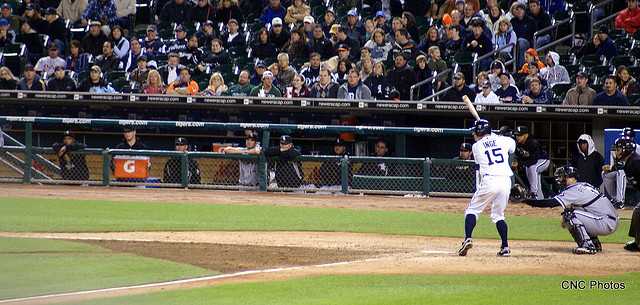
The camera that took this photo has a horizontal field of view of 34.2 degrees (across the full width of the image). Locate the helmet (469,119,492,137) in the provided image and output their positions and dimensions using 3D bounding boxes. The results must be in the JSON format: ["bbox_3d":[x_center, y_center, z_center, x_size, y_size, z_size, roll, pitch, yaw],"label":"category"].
[{"bbox_3d":[5.099,-0.785,32.689,0.628,0.464,0.436,10,5,19],"label":"helmet"}]

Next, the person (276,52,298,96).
[{"bbox_3d":[-1.235,-2.894,38.458,0.728,1.536,0.478,-1,-2,-3],"label":"person"}]

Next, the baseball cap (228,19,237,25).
[{"bbox_3d":[-3.406,-5.117,40.863,0.394,0.173,0.370,1,4,2],"label":"baseball cap"}]

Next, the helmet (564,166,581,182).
[{"bbox_3d":[7.966,0.622,32.854,0.464,0.483,0.515,9,26,15],"label":"helmet"}]

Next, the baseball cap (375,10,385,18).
[{"bbox_3d":[2.500,-5.394,40.477,0.387,0.247,0.591,0,5,3],"label":"baseball cap"}]

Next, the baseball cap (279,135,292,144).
[{"bbox_3d":[-1.212,-0.458,37.465,0.415,0.304,0.285,0,-3,-23],"label":"baseball cap"}]

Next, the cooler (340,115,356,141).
[{"bbox_3d":[1.059,-0.907,38.304,0.594,0.968,0.301,-1,-2,0],"label":"cooler"}]

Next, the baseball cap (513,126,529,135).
[{"bbox_3d":[7.181,-0.777,36.666,0.416,0.190,0.275,3,0,-27],"label":"baseball cap"}]

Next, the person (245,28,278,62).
[{"bbox_3d":[-2.190,-4.151,40.343,1.485,1.301,0.837,6,13,33],"label":"person"}]

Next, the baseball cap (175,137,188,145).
[{"bbox_3d":[-5.027,-0.419,37.841,0.374,0.271,0.464,-1,-2,-4],"label":"baseball cap"}]

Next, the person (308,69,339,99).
[{"bbox_3d":[0.298,-2.390,38.153,1.443,1.266,0.844,4,5,39],"label":"person"}]

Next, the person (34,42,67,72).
[{"bbox_3d":[-10.483,-3.596,40.581,1.816,1.288,0.996,5,7,-15],"label":"person"}]

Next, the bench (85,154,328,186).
[{"bbox_3d":[-4.632,0.520,37.434,7.661,1.171,0.270,3,-5,-40],"label":"bench"}]

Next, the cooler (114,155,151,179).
[{"bbox_3d":[-6.722,0.489,38.093,1.630,0.961,0.917,0,2,16],"label":"cooler"}]

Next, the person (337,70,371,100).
[{"bbox_3d":[1.298,-2.287,37.945,1.512,1.320,0.865,-2,-4,27],"label":"person"}]
